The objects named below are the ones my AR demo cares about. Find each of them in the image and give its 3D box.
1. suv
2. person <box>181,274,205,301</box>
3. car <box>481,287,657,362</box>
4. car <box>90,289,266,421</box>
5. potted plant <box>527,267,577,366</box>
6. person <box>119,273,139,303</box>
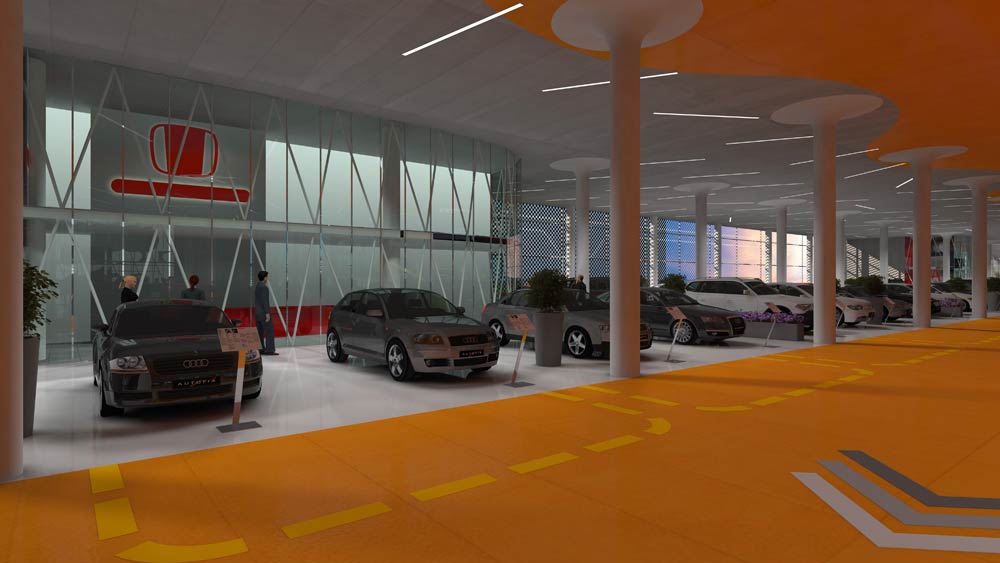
[{"bbox_3d":[-2.366,1.346,15.311,4.487,2.259,1.805,-2,0,38],"label":"suv"},{"bbox_3d":[-9.232,0.193,17.487,0.713,0.918,0.340,4,28,-13],"label":"person"},{"bbox_3d":[1.956,1.397,17.619,5.154,1.747,2.164,3,3,45],"label":"car"},{"bbox_3d":[-6.879,1.402,12.003,2.225,1.310,3.647,1,-3,-36],"label":"car"},{"bbox_3d":[1.368,1.017,16.013,1.016,2.662,0.445,-2,0,3],"label":"potted plant"},{"bbox_3d":[-10.450,0.202,16.359,0.416,0.804,0.781,-5,13,-37],"label":"person"}]
